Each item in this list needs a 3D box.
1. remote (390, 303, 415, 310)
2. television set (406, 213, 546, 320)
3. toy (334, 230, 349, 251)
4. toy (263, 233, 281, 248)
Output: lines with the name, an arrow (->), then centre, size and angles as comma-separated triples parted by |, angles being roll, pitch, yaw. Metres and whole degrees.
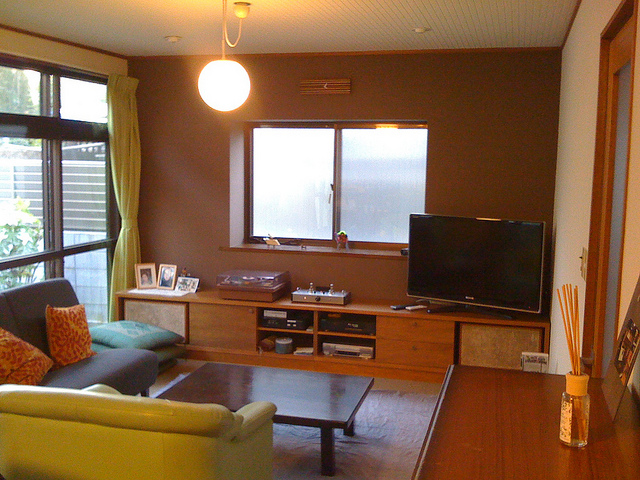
remote -> 0.750, 0.608, 4.867 | 0.225, 0.024, 0.125 | -7, 3, -12
television set -> 1.307, 0.185, 4.583 | 1.166, 0.792, 0.123 | 9, 14, 26
toy -> 0.217, 0.013, 5.341 | 0.163, 0.215, 0.165 | -1, 9, 0
toy -> -0.499, 0.023, 5.502 | 0.113, 0.119, 0.089 | 0, 5, 11
